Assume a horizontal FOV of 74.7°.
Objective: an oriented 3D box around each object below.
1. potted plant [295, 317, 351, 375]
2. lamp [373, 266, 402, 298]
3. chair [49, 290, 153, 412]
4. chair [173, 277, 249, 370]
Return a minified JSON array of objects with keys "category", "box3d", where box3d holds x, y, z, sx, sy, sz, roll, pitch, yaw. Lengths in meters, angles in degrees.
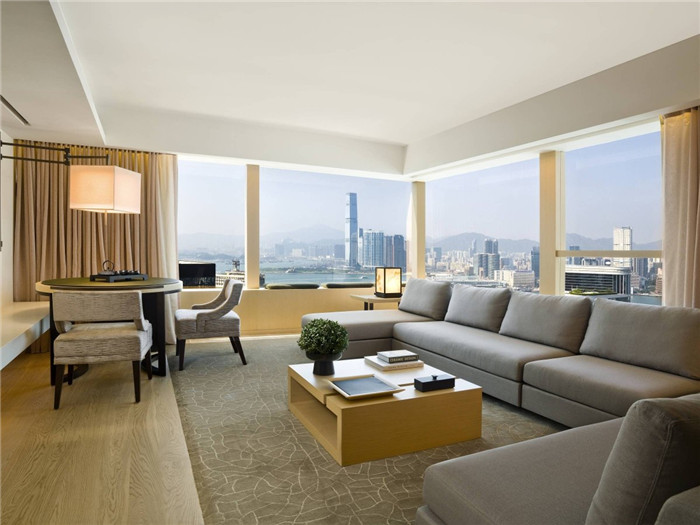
[{"category":"potted plant","box3d":[-0.227,0.655,3.713,0.413,0.445,0.398,1,0,-8]},{"category":"lamp","box3d":[0.522,0.274,6.671,0.396,0.587,0.410,0,-2,1]},{"category":"chair","box3d":[-2.317,0.712,4.282,0.727,1.021,0.895,0,3,-28]},{"category":"chair","box3d":[-1.520,0.648,4.985,0.946,1.236,0.826,2,-2,-23]}]
